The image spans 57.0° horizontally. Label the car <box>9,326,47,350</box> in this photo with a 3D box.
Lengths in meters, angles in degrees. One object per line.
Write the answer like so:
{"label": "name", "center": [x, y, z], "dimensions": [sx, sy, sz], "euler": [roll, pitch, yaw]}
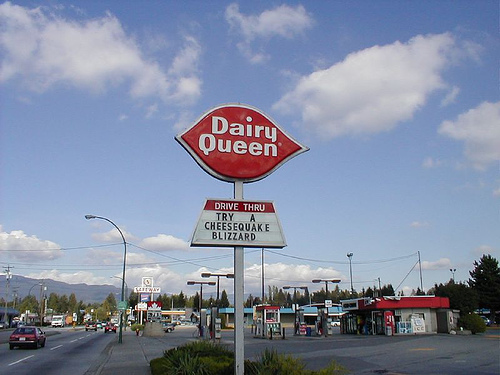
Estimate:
{"label": "car", "center": [-21.879, 14.730, 44.976], "dimensions": [2.438, 2.249, 3.500], "euler": [2, -18, -10]}

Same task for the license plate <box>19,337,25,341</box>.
{"label": "license plate", "center": [-21.631, 14.393, 43.353], "dimensions": [0.517, 0.231, 0.092], "euler": [3, -16, -14]}

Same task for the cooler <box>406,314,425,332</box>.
{"label": "cooler", "center": [22.157, 18.268, 61.335], "dimensions": [1.625, 2.471, 2.246], "euler": [6, -20, -13]}

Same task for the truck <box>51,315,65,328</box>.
{"label": "truck", "center": [-49.480, 34.001, 117.364], "dimensions": [2.996, 3.287, 5.556], "euler": [0, -20, -9]}

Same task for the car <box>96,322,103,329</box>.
{"label": "car", "center": [-33.939, 31.128, 102.879], "dimensions": [1.150, 1.158, 2.478], "euler": [2, -7, -10]}

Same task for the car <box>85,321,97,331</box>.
{"label": "car", "center": [-33.400, 29.569, 96.689], "dimensions": [1.729, 1.444, 4.093], "euler": [2, -7, -11]}

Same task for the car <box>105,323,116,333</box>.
{"label": "car", "center": [-25.991, 26.235, 85.348], "dimensions": [1.820, 1.552, 2.691], "euler": [4, -18, -17]}
